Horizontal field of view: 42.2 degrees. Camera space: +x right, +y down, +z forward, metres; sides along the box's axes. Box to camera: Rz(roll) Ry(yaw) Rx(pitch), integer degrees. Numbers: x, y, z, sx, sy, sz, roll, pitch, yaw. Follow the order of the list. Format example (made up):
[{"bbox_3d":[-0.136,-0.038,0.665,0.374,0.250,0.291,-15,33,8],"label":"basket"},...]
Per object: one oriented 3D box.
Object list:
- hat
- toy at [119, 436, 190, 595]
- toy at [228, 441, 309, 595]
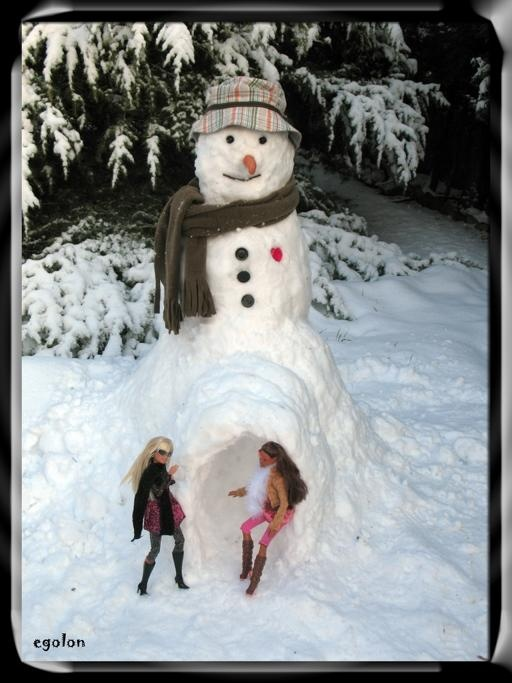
[{"bbox_3d":[0.030,-1.291,3.575,0.488,0.258,0.494,3,27,28],"label":"hat"},{"bbox_3d":[-0.457,0.816,3.076,0.254,0.687,0.407,-6,40,-8],"label":"toy"},{"bbox_3d":[0.038,0.831,3.095,0.372,0.699,0.452,6,40,6],"label":"toy"}]
